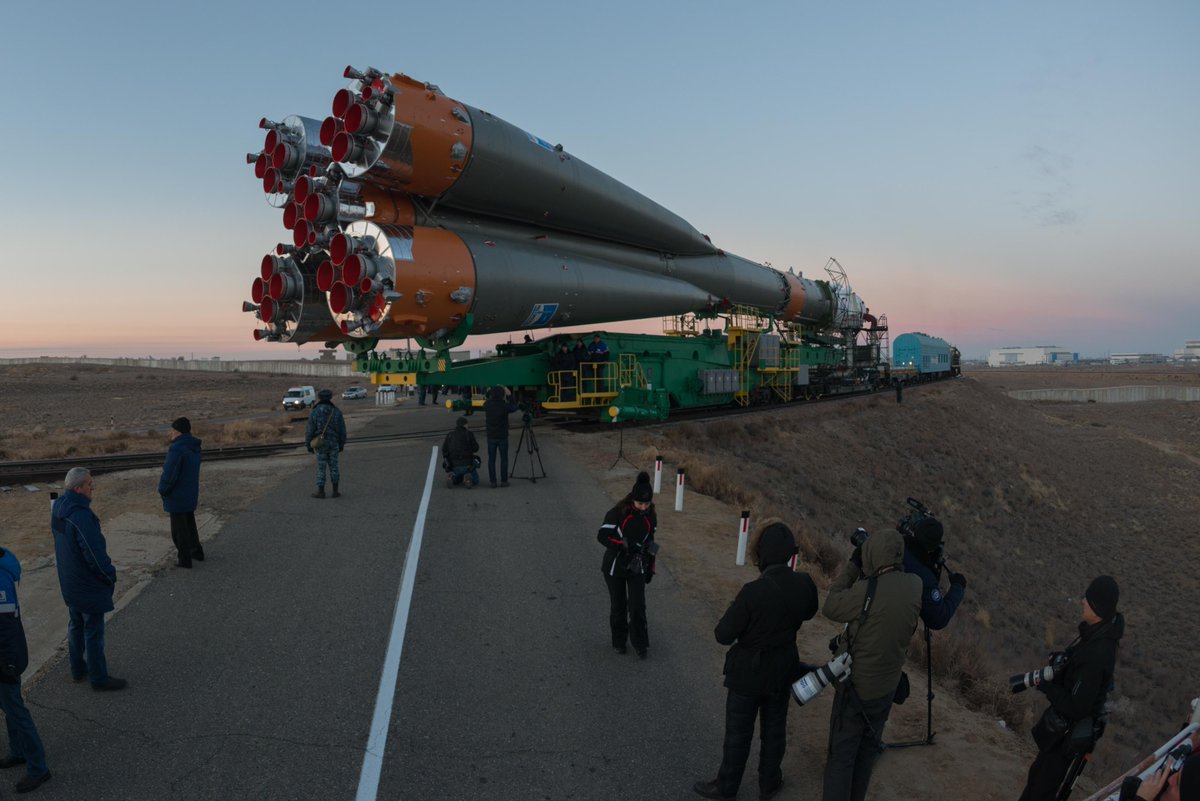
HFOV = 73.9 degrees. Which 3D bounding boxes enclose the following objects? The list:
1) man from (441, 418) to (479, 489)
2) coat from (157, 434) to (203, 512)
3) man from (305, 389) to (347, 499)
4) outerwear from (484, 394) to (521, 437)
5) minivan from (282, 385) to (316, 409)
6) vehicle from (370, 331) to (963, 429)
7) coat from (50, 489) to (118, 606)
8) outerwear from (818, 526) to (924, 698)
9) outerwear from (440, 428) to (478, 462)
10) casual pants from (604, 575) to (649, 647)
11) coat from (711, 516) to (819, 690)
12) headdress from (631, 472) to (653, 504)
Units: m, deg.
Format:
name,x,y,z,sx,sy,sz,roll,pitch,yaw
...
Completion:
name,x,y,z,sx,sy,sz,roll,pitch,yaw
man,-2.906,1.071,17.039,0.877,1.461,0.928,-2,-3,35
coat,-6.349,1.143,12.096,0.520,1.302,0.371,-2,12,-33
man,-5.450,0.863,15.912,0.720,2.097,0.556,-2,4,-37
outerwear,-2.083,0.303,16.320,0.478,0.965,0.326,0,11,-23
minivan,-18.347,-0.217,48.463,1.285,1.428,2.655,-1,-2,3
vehicle,2.559,-0.574,26.573,13.071,2.854,4.026,1,4,-44
coat,-6.159,1.830,9.608,0.612,1.437,0.393,1,10,-20
outerwear,2.884,2.249,8.487,0.975,1.760,0.561,8,10,18
outerwear,-3.017,0.980,17.134,0.761,0.794,0.472,2,21,4
casual pants,0.331,2.741,10.503,0.497,0.320,1.129,-2,42,3
coat,1.791,2.239,8.611,1.056,1.840,0.453,2,10,-12
headdress,0.545,1.143,10.483,0.337,0.435,0.478,6,-6,-3
